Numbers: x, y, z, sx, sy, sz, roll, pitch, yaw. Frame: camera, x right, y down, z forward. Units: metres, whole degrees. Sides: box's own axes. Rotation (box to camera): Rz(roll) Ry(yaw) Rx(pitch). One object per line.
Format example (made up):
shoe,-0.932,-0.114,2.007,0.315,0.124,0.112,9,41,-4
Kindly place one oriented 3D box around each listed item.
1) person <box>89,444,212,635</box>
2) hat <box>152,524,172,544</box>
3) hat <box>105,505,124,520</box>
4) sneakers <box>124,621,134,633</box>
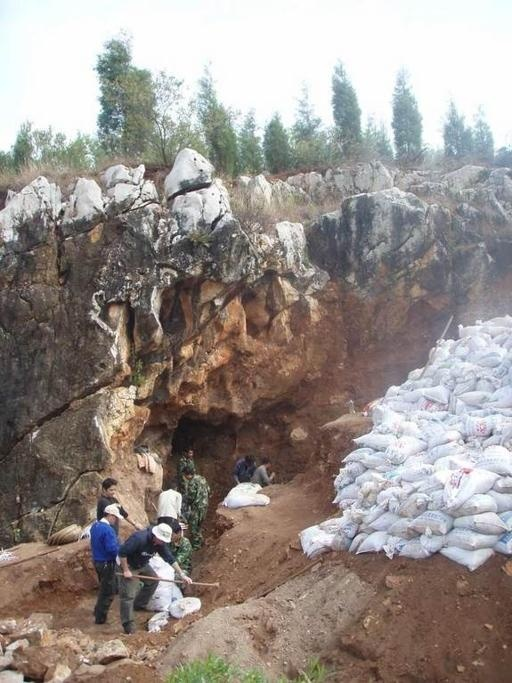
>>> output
person,-1.240,2.155,7.632,0.786,1.404,1.086,-5,4,-20
hat,-0.892,1.883,7.349,0.183,0.216,0.185,-5,4,-12
hat,-1.400,1.754,7.638,0.175,0.095,0.116,21,5,-18
sneakers,-1.191,2.727,7.192,0.085,0.115,0.116,2,-23,-17
